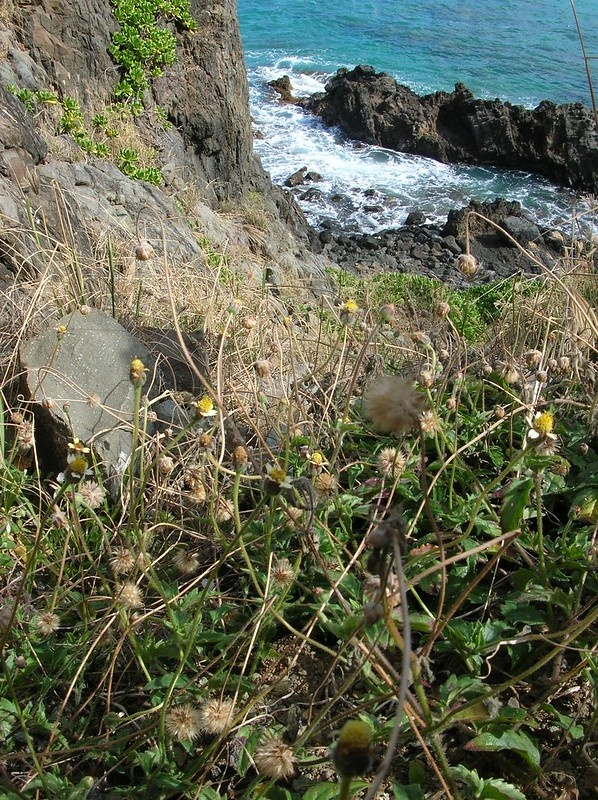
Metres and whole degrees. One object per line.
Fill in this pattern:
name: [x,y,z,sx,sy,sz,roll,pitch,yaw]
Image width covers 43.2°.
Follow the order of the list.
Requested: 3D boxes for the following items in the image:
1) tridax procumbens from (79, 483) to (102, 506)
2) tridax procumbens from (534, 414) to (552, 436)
tridax procumbens: [-0.523,0.238,1.875,0.062,0.056,0.046,-13,-21,21]
tridax procumbens: [0.557,0.056,1.714,0.042,0.033,0.058,-2,-2,10]
